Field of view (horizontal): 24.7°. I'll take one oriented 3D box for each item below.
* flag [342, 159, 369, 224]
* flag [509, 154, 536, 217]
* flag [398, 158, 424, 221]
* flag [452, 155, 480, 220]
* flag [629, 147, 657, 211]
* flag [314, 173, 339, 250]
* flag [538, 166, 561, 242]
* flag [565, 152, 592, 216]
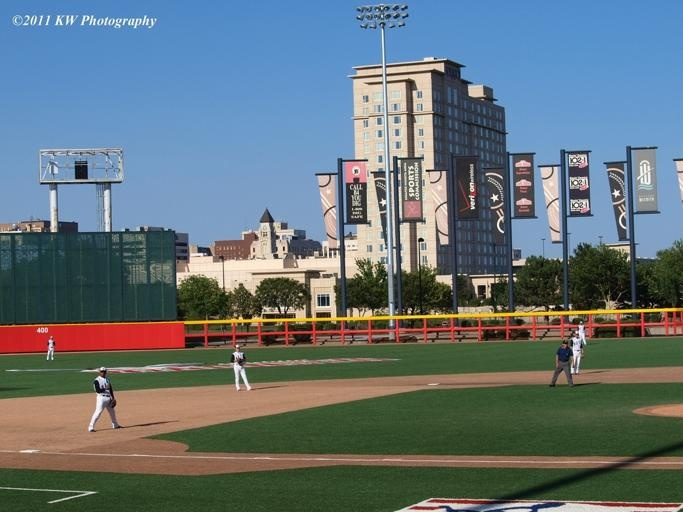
[{"bbox_3d":[0.981,-4.334,108.056,1.471,4.356,1.765,-1,-3,-2],"label":"flag"},{"bbox_3d":[12.393,-4.624,106.492,1.455,4.463,2.455,-1,-3,6],"label":"flag"},{"bbox_3d":[4.839,-4.493,108.307,1.423,4.248,2.156,-1,-3,0],"label":"flag"},{"bbox_3d":[8.702,-4.528,108.542,1.442,4.556,0.732,-1,2,16],"label":"flag"},{"bbox_3d":[20.833,-5.027,107.319,1.475,4.403,0.629,-2,-3,21],"label":"flag"},{"bbox_3d":[-0.879,-3.019,109.884,1.089,5.151,2.447,-2,-3,8],"label":"flag"},{"bbox_3d":[12.452,-3.529,92.858,1.311,5.847,0.831,-3,1,31],"label":"flag"},{"bbox_3d":[16.328,-4.816,107.418,1.440,4.391,0.709,-3,-3,26],"label":"flag"}]
